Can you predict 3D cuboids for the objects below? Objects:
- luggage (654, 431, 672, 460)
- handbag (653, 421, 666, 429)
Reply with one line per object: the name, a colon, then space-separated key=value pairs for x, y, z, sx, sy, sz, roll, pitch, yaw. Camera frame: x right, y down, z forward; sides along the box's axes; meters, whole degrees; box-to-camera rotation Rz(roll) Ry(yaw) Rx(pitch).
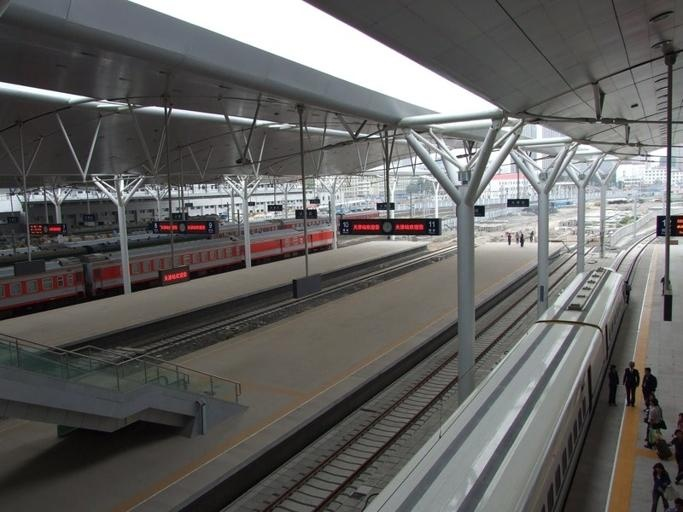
luggage: x=7.312 y=4.437 z=10.495 sx=0.450 sy=0.580 sz=0.146 roll=-8 pitch=4 yaw=11
handbag: x=7.493 y=4.117 z=10.895 sx=0.258 sy=0.070 sz=0.256 roll=-8 pitch=10 yaw=8
